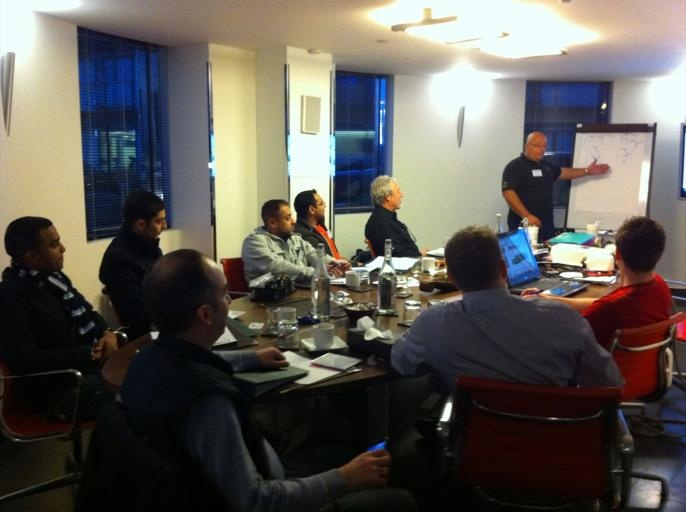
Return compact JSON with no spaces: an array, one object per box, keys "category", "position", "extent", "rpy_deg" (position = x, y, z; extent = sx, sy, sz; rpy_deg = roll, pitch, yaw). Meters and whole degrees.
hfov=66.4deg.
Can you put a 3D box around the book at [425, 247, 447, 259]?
[{"category":"book","position":[0.818,-0.035,4.695],"extent":[0.174,0.043,0.168],"rpy_deg":[-4,9,-33]}]

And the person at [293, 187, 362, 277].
[{"category":"person","position":[-0.177,-0.123,4.761],"extent":[0.594,0.973,0.589],"rpy_deg":[-13,23,-21]}]

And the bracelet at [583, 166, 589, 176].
[{"category":"bracelet","position":[3.208,-1.117,6.921],"extent":[0.098,0.088,0.098],"rpy_deg":[2,-1,22]}]

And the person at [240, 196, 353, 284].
[{"category":"person","position":[-0.422,-0.014,4.073],"extent":[0.818,0.760,0.578],"rpy_deg":[8,11,-8]}]

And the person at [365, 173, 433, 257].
[{"category":"person","position":[0.533,-0.432,5.366],"extent":[0.708,0.937,0.895],"rpy_deg":[-2,7,-1]}]

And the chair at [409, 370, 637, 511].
[{"category":"chair","position":[0.698,0.656,2.185],"extent":[0.651,0.720,0.596],"rpy_deg":[0,19,12]}]
